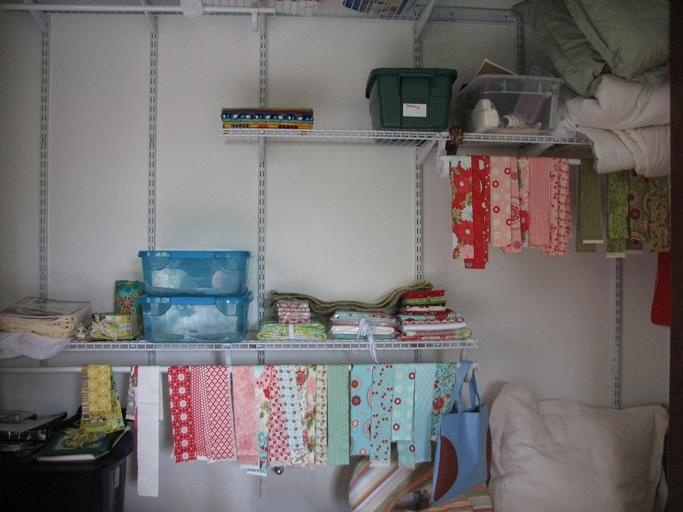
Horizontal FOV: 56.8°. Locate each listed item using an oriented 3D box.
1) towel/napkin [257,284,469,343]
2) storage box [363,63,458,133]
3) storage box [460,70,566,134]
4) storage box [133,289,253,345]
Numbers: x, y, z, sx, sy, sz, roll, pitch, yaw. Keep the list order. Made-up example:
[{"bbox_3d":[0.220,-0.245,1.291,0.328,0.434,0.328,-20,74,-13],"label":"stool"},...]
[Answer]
[{"bbox_3d":[0.113,0.281,3.323,1.081,0.283,0.365,0,2,-2],"label":"towel/napkin"},{"bbox_3d":[0.377,-0.858,3.368,0.460,0.303,0.578,3,17,10],"label":"storage box"},{"bbox_3d":[0.877,-0.767,3.200,0.391,0.187,0.279,-1,6,-13],"label":"storage box"},{"bbox_3d":[-0.750,0.283,3.354,0.531,0.249,0.448,0,11,-7],"label":"storage box"}]
